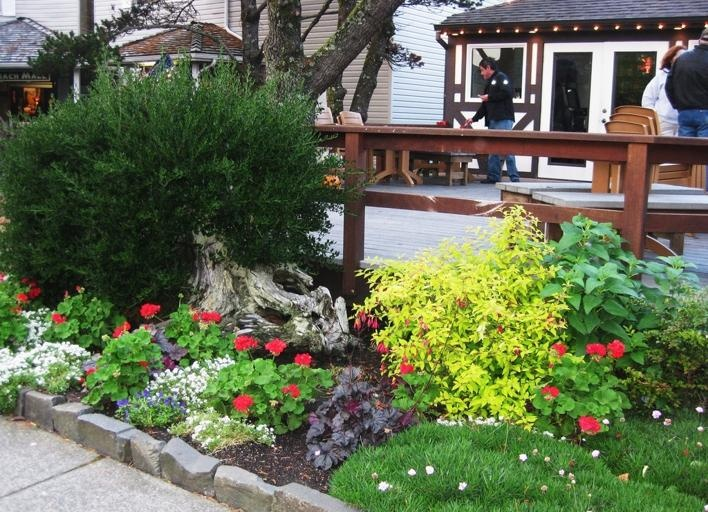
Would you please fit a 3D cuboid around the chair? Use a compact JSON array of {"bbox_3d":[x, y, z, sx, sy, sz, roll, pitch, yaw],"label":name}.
[{"bbox_3d":[3.525,-1.290,8.021,0.824,0.959,2.272,8,12,33],"label":"chair"}]
